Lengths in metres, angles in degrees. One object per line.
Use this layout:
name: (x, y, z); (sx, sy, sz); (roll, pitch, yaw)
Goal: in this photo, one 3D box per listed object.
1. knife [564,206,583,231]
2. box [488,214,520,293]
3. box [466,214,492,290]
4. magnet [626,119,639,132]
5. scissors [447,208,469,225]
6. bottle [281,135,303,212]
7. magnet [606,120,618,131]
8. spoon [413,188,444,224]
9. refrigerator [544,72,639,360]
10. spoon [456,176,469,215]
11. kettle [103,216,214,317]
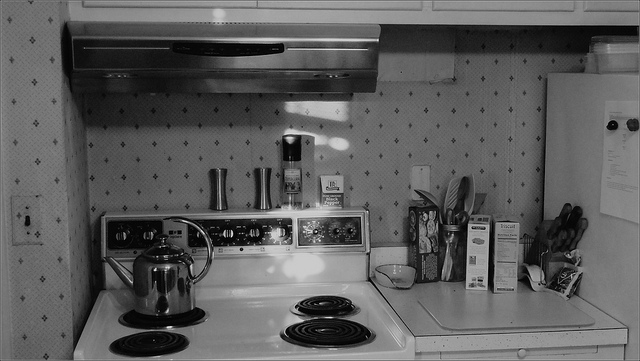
knife: (1.362, 0.202, 2.754); (0.056, 0.167, 0.042); (10, 20, -45)
box: (1.007, 0.403, 2.782); (0.166, 0.396, 0.433); (0, 4, 11)
box: (0.879, 0.400, 2.802); (0.155, 0.382, 0.413); (2, 5, 12)
magnet: (1.499, -0.268, 2.422); (0.067, 0.060, 0.015); (-4, 5, 30)
scissors: (0.778, 0.200, 2.823); (0.109, 0.093, 0.031); (4, -5, -2)
bottle: (-0.166, -0.047, 2.889); (0.149, 0.431, 0.148); (-6, 7, 1)
magnet: (1.459, -0.278, 2.523); (0.045, 0.051, 0.014); (2, -11, 31)
spoon: (0.702, 0.152, 2.990); (0.335, 0.099, 0.076); (28, -28, -30)
refrigerator: (1.448, 0.129, 2.713); (0.223, 1.480, 0.722); (-6, 6, -4)
spoon: (0.837, 0.086, 2.936); (0.063, 0.207, 0.054); (10, 2, 19)
kettle: (-0.825, 0.445, 2.665); (0.558, 0.431, 0.317); (-2, 3, 3)
